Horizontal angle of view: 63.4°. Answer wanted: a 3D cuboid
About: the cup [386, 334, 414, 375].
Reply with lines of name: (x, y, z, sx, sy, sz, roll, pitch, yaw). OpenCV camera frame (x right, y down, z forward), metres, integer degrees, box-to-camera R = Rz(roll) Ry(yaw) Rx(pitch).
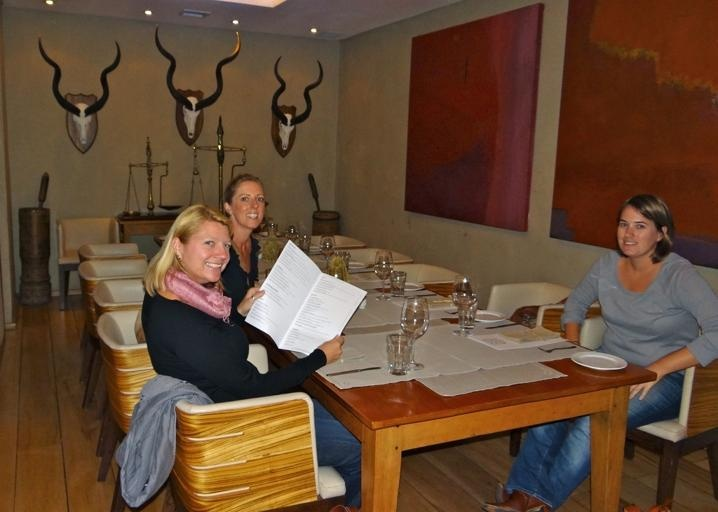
cup: (0.181, 0.416, 2.591, 0.145, 0.178, 0.142, 0, 9, 0)

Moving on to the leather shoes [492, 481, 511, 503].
leather shoes: (0.748, 1.231, 3.009, 0.051, 0.139, 0.134, 2, -27, 4)

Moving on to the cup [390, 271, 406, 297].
cup: (0.244, 0.171, 3.641, 0.123, 0.163, 0.128, 0, 10, 0)
